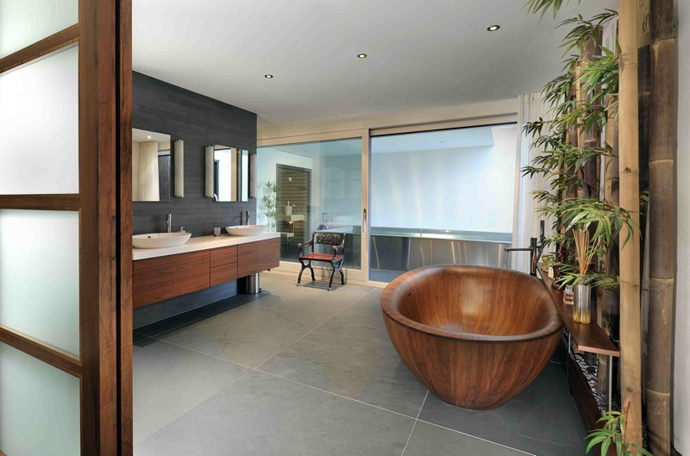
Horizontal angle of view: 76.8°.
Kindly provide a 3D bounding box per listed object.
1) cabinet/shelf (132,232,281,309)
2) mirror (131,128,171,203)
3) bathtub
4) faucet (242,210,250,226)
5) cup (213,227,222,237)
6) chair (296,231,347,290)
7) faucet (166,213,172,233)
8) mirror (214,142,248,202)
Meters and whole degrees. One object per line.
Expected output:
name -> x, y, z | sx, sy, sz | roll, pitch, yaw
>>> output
cabinet/shelf -> -1.578, 0.373, 5.069 | 0.461, 0.531, 2.330 | 8, 7, 24
mirror -> -2.127, -0.695, 4.770 | 0.147, 0.775, 0.515 | 9, 17, 32
bathtub -> 1.005, 0.822, 3.228 | 1.000, 0.501, 1.257 | -2, 7, -6
faucet -> -1.366, -0.150, 6.039 | 0.081, 0.201, 0.218 | 4, 14, 13
cup -> -1.611, 0.047, 5.505 | 0.104, 0.110, 0.096 | 2, -1, 0
chair -> -0.350, 0.462, 6.587 | 0.665, 0.759, 0.547 | 3, 6, 18
faucet -> -1.982, -0.055, 4.916 | 0.074, 0.210, 0.178 | -5, 15, -20
mirror -> -1.473, -0.693, 5.808 | 0.025, 0.749, 0.739 | 2, 3, 20
